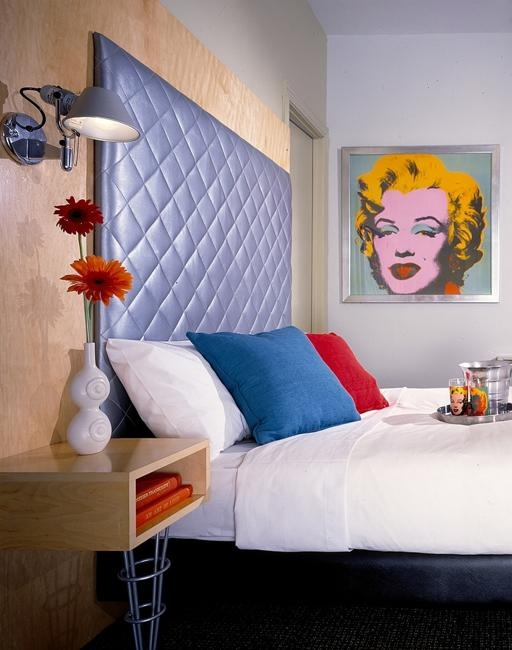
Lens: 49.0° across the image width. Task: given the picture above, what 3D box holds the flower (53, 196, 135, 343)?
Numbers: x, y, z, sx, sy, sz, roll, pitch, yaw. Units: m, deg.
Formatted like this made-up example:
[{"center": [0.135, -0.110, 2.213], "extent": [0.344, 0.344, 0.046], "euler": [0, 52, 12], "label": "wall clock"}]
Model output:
[{"center": [-0.392, -0.140, 1.351], "extent": [0.170, 0.355, 0.303], "euler": [-1, 6, -19], "label": "flower"}]

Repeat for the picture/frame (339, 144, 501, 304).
[{"center": [1.292, -0.763, 4.249], "extent": [1.253, 1.204, 0.044], "euler": [-1, 0, 0], "label": "picture/frame"}]
